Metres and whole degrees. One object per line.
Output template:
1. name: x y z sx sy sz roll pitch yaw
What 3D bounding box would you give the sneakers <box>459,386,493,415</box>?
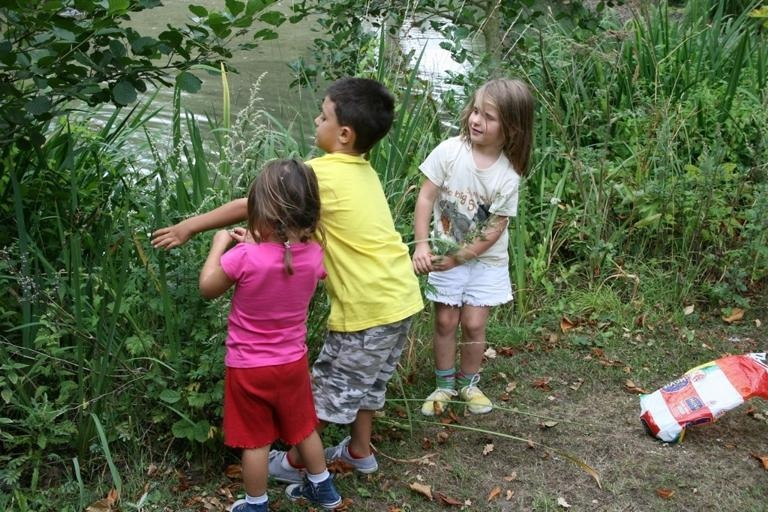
1. sneakers: 0.562 0.864 3.782 0.119 0.093 0.226 -23 29 -33

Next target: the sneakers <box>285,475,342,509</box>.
1. sneakers: -0.358 1.172 3.045 0.284 0.133 0.101 18 29 27

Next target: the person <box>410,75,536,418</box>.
1. person: 0.476 -0.007 3.594 0.596 1.916 0.874 6 23 22

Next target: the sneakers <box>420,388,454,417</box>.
1. sneakers: 0.324 0.877 3.709 0.107 0.094 0.239 8 12 31
